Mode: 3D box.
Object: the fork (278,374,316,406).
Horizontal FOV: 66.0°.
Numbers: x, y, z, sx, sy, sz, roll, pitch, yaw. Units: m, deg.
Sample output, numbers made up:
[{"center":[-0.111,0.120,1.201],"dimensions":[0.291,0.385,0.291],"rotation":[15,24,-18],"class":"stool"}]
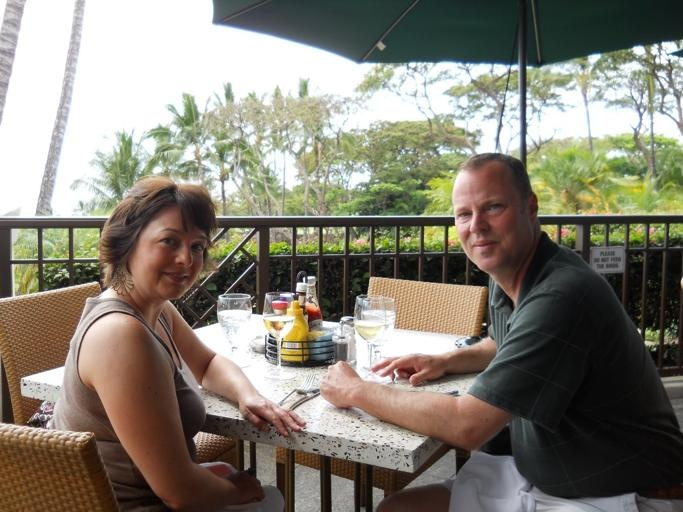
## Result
[{"center":[-0.121,0.394,1.598],"dimensions":[0.032,0.034,0.238],"rotation":[-1,15,23],"class":"fork"}]
